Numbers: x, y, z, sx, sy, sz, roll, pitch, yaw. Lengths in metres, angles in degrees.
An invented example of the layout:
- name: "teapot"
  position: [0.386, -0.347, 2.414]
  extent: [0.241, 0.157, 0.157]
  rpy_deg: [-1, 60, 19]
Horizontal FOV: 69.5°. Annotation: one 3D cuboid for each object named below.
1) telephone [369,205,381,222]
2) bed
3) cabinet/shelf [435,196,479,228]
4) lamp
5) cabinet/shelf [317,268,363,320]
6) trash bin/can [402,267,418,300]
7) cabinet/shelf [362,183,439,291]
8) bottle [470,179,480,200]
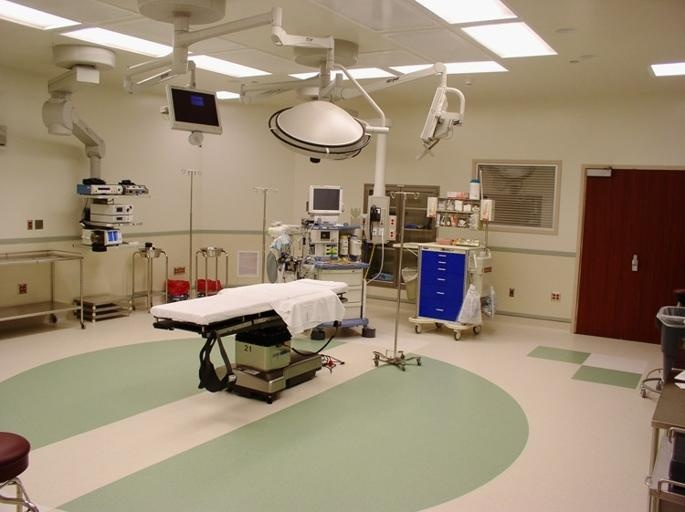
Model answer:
- name: "telephone"
  position: [0.512, -0.664, 7.724]
  extent: [0.199, 0.305, 0.197]
  rpy_deg: [-2, 3, -45]
- name: "bed"
  position: [-0.861, 0.942, 5.135]
  extent: [0.838, 1.102, 1.995]
  rpy_deg: [10, 13, 40]
- name: "cabinet/shelf"
  position: [1.828, -0.690, 7.797]
  extent: [0.710, 0.465, 0.234]
  rpy_deg: [5, 11, 19]
- name: "lamp"
  position: [-0.120, -1.052, 3.280]
  extent: [0.722, 0.720, 0.702]
  rpy_deg: [9, 23, 12]
- name: "cabinet/shelf"
  position: [0.096, 0.537, 7.684]
  extent: [0.708, 1.044, 0.695]
  rpy_deg: [0, 1, -17]
- name: "trash bin/can"
  position: [1.190, 0.479, 8.543]
  extent: [0.403, 0.552, 0.505]
  rpy_deg: [-1, 7, 14]
- name: "cabinet/shelf"
  position: [1.129, -0.360, 9.567]
  extent: [0.436, 1.836, 1.063]
  rpy_deg: [9, 6, -13]
- name: "bottle"
  position: [2.055, -1.031, 7.663]
  extent: [0.160, 0.298, 0.140]
  rpy_deg: [4, 10, 11]
